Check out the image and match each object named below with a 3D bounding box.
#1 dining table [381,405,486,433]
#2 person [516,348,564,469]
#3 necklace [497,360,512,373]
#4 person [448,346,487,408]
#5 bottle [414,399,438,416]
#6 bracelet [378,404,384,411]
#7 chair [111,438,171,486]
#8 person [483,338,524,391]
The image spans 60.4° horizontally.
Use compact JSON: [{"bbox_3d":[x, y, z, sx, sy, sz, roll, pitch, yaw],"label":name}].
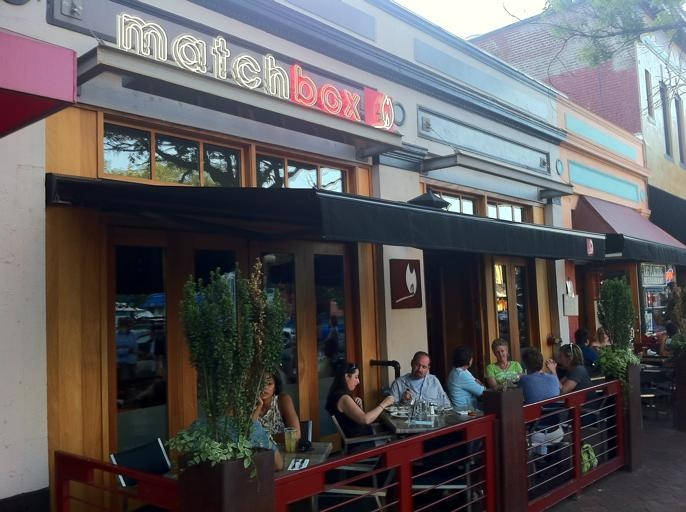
[{"bbox_3d":[1.008,2.036,7.143,1.086,0.347,0.924,-4,-2,2],"label":"dining table"},{"bbox_3d":[2.618,2.063,7.826,0.531,1.601,1.857,-4,-3,19],"label":"person"},{"bbox_3d":[2.517,1.726,9.235,0.159,0.120,0.216,-2,3,23],"label":"necklace"},{"bbox_3d":[1.694,1.712,8.268,0.473,0.852,0.383,-3,-3,0],"label":"person"},{"bbox_3d":[1.014,1.898,7.368,0.174,0.111,0.172,1,-2,0],"label":"bottle"},{"bbox_3d":[0.474,1.876,7.265,0.042,0.097,0.108,9,-7,-21],"label":"bracelet"},{"bbox_3d":[-2.140,2.182,6.123,0.393,0.463,0.595,-16,-6,-18],"label":"chair"},{"bbox_3d":[2.467,1.709,9.221,0.703,1.026,0.636,-2,-15,5],"label":"person"}]
